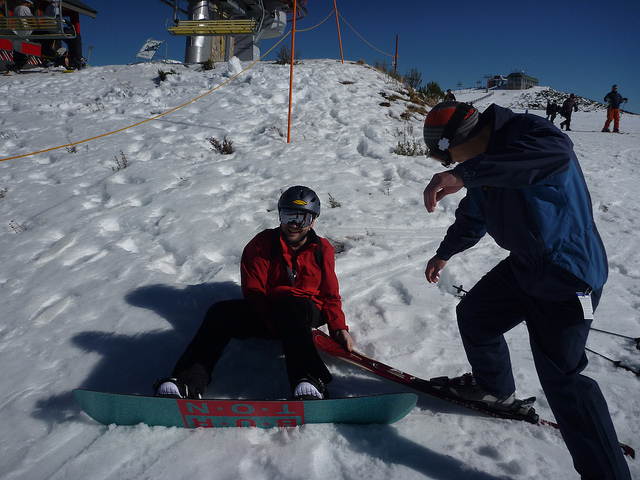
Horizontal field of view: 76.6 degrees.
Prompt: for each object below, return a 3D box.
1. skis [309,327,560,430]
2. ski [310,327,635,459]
[{"bbox_3d":[0.961,1.211,3.428,2.554,0.188,0.270,15,32,18],"label":"skis"},{"bbox_3d":[1.222,1.273,3.265,2.579,0.210,0.259,19,10,13],"label":"ski"}]
